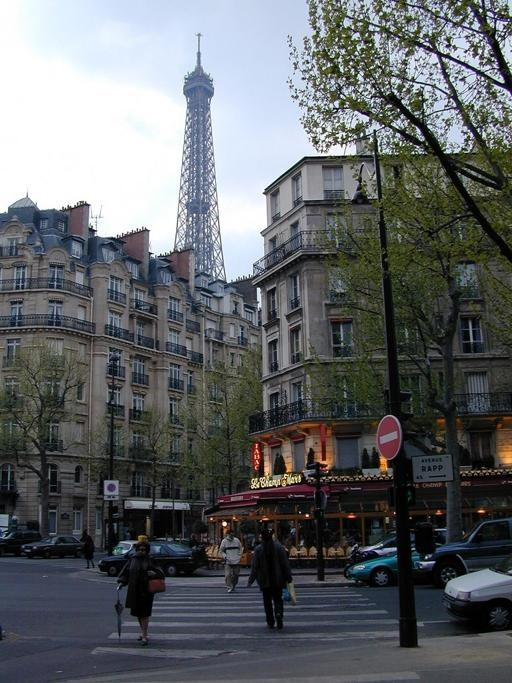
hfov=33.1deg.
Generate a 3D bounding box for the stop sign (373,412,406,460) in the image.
[{"bbox_3d":[1.678,1.224,10.867,0.072,0.573,0.582,5,-18,-22],"label":"stop sign"}]

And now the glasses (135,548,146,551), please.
[{"bbox_3d":[-1.705,3.072,12.690,0.132,0.044,0.135,-1,-14,5],"label":"glasses"}]

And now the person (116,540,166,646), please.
[{"bbox_3d":[-1.710,3.671,12.676,0.647,1.458,1.714,0,-13,-9],"label":"person"}]

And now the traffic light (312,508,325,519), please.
[{"bbox_3d":[1.745,4.871,24.326,0.238,0.229,0.441,-1,-13,-7],"label":"traffic light"}]

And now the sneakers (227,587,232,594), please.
[{"bbox_3d":[-0.677,6.259,21.574,0.126,0.116,0.095,2,-36,40],"label":"sneakers"}]

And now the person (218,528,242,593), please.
[{"bbox_3d":[-0.665,5.640,22.132,0.495,1.528,1.490,-2,-13,-3],"label":"person"}]

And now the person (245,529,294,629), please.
[{"bbox_3d":[0.171,3.876,13.939,0.769,1.564,0.604,-6,-7,10],"label":"person"}]

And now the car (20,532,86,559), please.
[{"bbox_3d":[-10.454,10.599,44.411,2.910,0.913,1.307,15,-21,-42],"label":"car"}]
